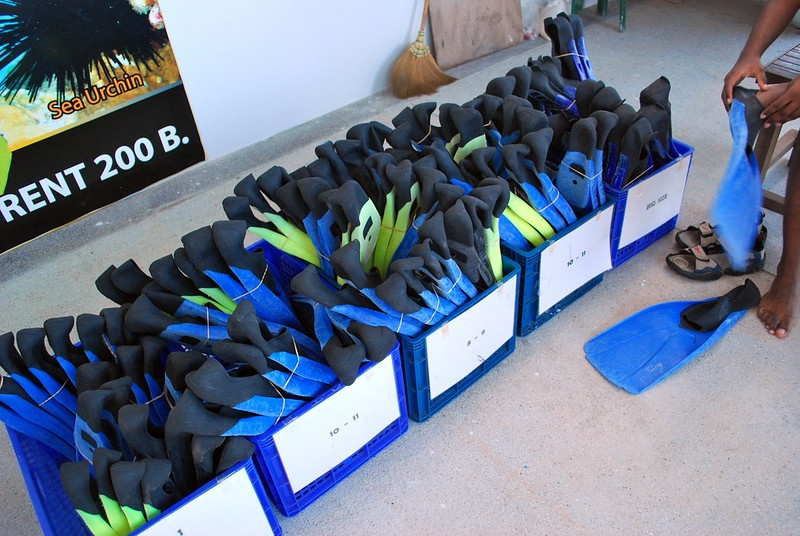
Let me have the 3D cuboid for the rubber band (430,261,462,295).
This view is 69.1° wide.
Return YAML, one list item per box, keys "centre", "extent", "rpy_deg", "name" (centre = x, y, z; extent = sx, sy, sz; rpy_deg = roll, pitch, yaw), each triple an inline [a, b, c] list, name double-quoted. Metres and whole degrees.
- centre: [0.182, 0.061, 2.199]
  extent: [0.044, 0.094, 0.133]
  rpy_deg: [-37, 72, 8]
  name: "rubber band"

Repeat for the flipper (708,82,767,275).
- centre: [1.485, -0.391, 2.648]
  extent: [0.246, 0.843, 0.330]
  rpy_deg: [3, 12, 10]
  name: "flipper"

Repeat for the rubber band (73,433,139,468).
- centre: [-1.014, 0.635, 1.968]
  extent: [0.152, 0.057, 0.061]
  rpy_deg: [13, 7, 10]
  name: "rubber band"

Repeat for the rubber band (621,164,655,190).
- centre: [1.106, -0.412, 2.708]
  extent: [0.136, 0.134, 0.041]
  rpy_deg: [-37, 32, -1]
  name: "rubber band"

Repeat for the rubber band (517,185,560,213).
- centre: [0.588, -0.295, 2.468]
  extent: [0.102, 0.045, 0.131]
  rpy_deg: [-40, 82, -15]
  name: "rubber band"

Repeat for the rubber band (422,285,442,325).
- centre: [0.121, 0.138, 2.200]
  extent: [0.046, 0.094, 0.131]
  rpy_deg: [-34, 38, 10]
  name: "rubber band"

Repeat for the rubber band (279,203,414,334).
- centre: [-0.184, -0.003, 2.216]
  extent: [0.139, 0.347, 0.377]
  rpy_deg: [-56, 13, 5]
  name: "rubber band"

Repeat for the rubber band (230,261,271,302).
- centre: [-0.550, 0.041, 2.223]
  extent: [0.131, 0.130, 0.036]
  rpy_deg: [41, 55, 0]
  name: "rubber band"
